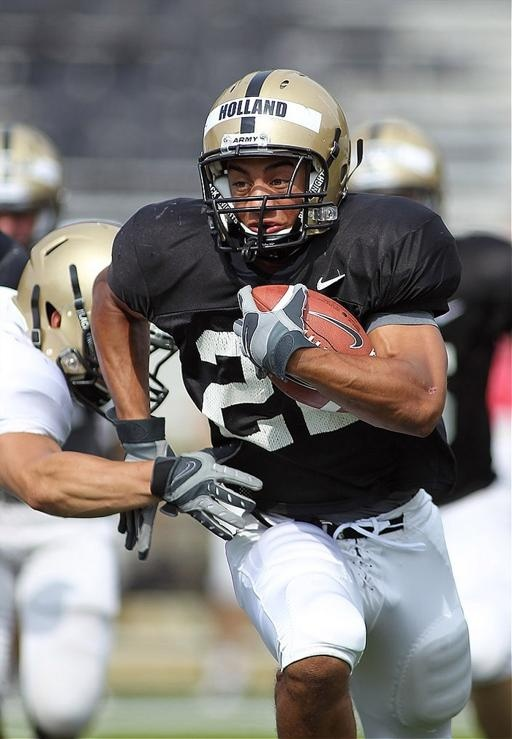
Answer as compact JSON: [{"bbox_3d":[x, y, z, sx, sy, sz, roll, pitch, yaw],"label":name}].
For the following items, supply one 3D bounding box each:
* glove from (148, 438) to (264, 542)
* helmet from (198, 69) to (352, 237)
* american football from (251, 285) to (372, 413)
[{"bbox_3d":[-0.110,0.237,1.556,0.063,0.230,0.136,-16,52,51],"label":"glove"},{"bbox_3d":[0.040,-0.448,1.703,0.308,0.307,0.393,4,19,19],"label":"helmet"},{"bbox_3d":[0.107,-0.033,1.487,0.256,0.144,0.186,32,12,-10],"label":"american football"}]
